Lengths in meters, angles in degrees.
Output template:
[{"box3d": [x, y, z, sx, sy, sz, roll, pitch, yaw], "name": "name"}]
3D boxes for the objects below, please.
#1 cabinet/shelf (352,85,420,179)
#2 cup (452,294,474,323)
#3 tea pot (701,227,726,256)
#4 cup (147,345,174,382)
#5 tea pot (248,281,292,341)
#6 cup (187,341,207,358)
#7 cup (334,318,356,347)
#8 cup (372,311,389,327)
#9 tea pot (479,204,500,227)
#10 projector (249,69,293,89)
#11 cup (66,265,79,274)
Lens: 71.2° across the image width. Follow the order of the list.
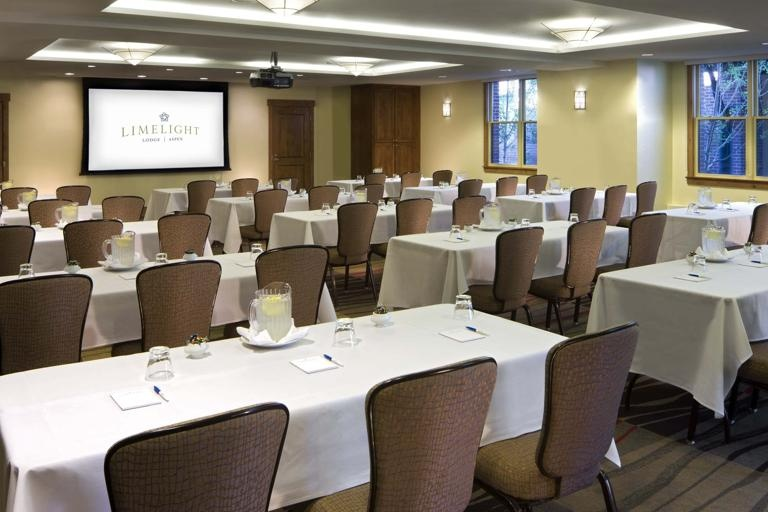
[{"box3d": [0.207, -3.580, 15.168, 1.816, 2.434, 0.637, -8, 15, -28], "name": "cabinet/shelf"}, {"box3d": [0.434, 0.295, 2.986, 0.119, 0.146, 0.125, -1, 1, 0], "name": "cup"}, {"box3d": [2.683, -0.124, 4.438, 0.204, 0.338, 0.211, 1, 4, 0], "name": "tea pot"}, {"box3d": [-0.936, 0.453, 2.309, 0.125, 0.136, 0.123, 2, 1, 0], "name": "cup"}, {"box3d": [-0.532, 0.260, 2.700, 0.171, 0.276, 0.284, 6, 10, 35], "name": "tea pot"}, {"box3d": [-0.863, 0.428, 2.489, 0.074, 0.048, 0.071, -2, 0, 0], "name": "cup"}, {"box3d": [-0.189, 0.376, 2.665, 0.116, 0.115, 0.118, -1, 0, 0], "name": "cup"}, {"box3d": [-0.016, 0.333, 2.860, 0.071, 0.051, 0.071, -1, -1, 0], "name": "cup"}, {"box3d": [1.114, -0.418, 5.614, 0.168, 0.263, 0.252, 1, -1, -37], "name": "tea pot"}, {"box3d": [-1.957, -3.118, 9.323, 0.581, 0.328, 0.567, 7, 15, 30], "name": "projector"}, {"box3d": [-2.044, 0.083, 3.540, 0.077, 0.081, 0.060, 4, 6, 24], "name": "cup"}]
